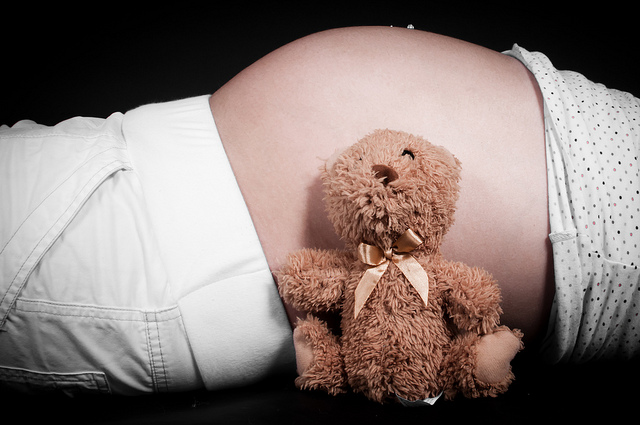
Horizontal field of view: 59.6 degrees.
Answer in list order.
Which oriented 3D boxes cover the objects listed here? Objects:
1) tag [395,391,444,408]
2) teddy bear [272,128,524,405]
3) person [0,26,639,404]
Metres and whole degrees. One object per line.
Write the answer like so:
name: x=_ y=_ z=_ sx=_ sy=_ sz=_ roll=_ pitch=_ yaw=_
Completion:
tag: x=0.270 y=0.504 z=1.531 sx=0.079 sy=0.024 sz=0.052 roll=11 pitch=-14 yaw=-33
teddy bear: x=0.208 y=0.156 z=1.577 sx=0.750 sy=0.742 sz=0.415 roll=-1 pitch=-10 yaw=-1
person: x=-0.001 y=0.120 z=1.670 sx=1.526 sy=0.535 sz=1.102 roll=-6 pitch=28 yaw=-4
